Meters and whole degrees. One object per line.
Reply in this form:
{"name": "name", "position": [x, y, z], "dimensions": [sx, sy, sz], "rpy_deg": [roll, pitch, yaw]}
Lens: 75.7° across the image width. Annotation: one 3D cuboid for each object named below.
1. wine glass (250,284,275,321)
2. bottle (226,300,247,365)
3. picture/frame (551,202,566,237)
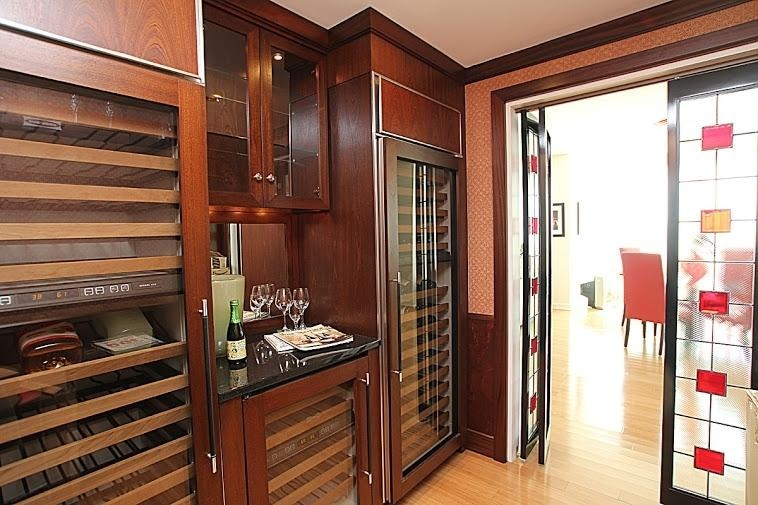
{"name": "wine glass", "position": [-0.743, 0.320, 3.120], "dimensions": [0.159, 0.225, 0.224], "rpy_deg": [-2, 3, -13]}
{"name": "bottle", "position": [-0.801, 0.435, 2.727], "dimensions": [0.108, 0.344, 0.167], "rpy_deg": [-2, 3, -17]}
{"name": "picture/frame", "position": [2.937, -0.529, 7.995], "dimensions": [0.161, 0.566, 0.296], "rpy_deg": [-2, 3, -15]}
